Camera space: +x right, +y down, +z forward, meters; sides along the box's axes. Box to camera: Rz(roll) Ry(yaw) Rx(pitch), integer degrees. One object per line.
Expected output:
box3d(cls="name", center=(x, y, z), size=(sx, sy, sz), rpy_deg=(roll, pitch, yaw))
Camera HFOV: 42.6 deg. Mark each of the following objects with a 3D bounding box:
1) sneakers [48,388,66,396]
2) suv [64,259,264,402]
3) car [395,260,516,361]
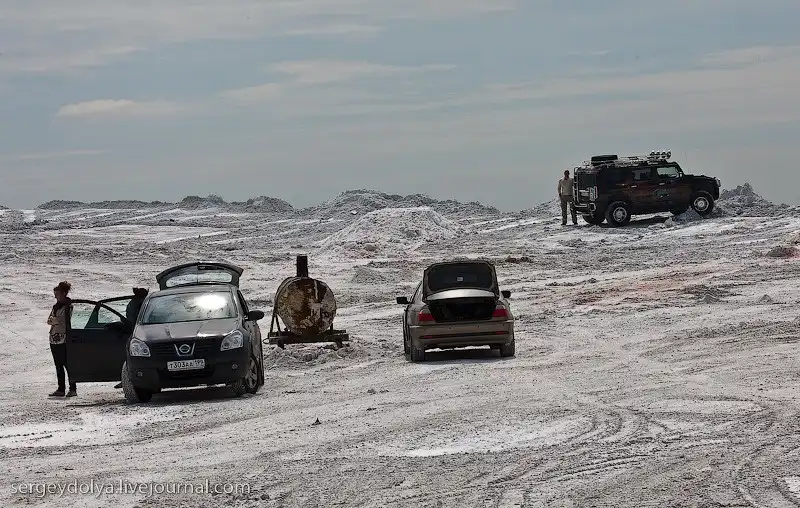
box3d(cls="sneakers", center=(-6.990, 2.770, 20.820), size=(0.403, 0.152, 0.136), rpy_deg=(3, 5, 27))
box3d(cls="suv", center=(-4.574, 1.523, 20.819), size=(2.521, 1.569, 3.097), rpy_deg=(-2, -9, -4))
box3d(cls="car", center=(1.265, 1.261, 22.852), size=(2.334, 2.102, 2.055), rpy_deg=(-5, 7, -16))
